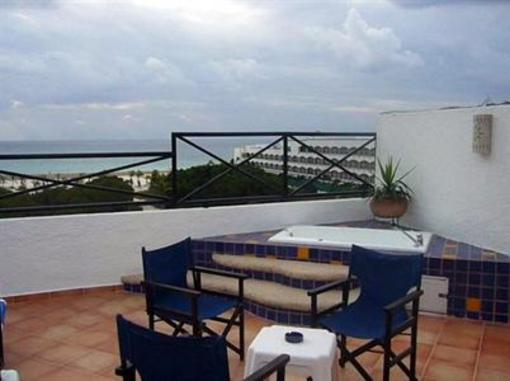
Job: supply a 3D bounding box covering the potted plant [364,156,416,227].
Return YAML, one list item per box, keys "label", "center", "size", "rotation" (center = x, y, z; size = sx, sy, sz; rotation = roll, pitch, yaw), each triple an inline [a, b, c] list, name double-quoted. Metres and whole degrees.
- label: "potted plant"
  center: [1.870, -0.021, 5.352]
  size: [0.629, 0.980, 0.527]
  rotation: [2, 10, 5]
